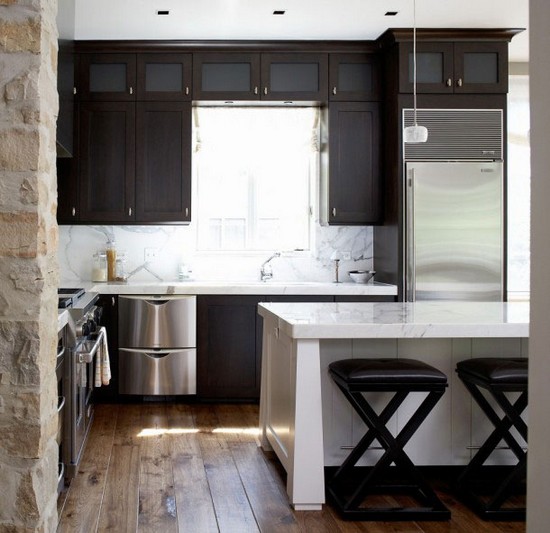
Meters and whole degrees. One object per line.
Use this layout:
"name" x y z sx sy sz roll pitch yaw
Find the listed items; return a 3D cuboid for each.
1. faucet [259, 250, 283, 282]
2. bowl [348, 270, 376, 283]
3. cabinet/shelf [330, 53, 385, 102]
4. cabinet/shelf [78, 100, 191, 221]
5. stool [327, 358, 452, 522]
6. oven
"faucet" -0.032 -0.005 4.781 0.184 0.239 0.156 -1 2 -4
"bowl" 0.716 0.077 4.713 0.217 0.096 0.342 0 3 7
"cabinet/shelf" 0.627 -1.452 4.397 0.456 0.482 0.296 0 0 -1
"cabinet/shelf" -1.103 -0.848 4.364 0.705 0.884 0.382 1 0 -2
"stool" 0.478 0.723 2.557 0.486 0.637 0.439 -1 2 -3
"oven" -0.948 0.639 2.896 0.200 0.541 0.738 -1 0 -10
